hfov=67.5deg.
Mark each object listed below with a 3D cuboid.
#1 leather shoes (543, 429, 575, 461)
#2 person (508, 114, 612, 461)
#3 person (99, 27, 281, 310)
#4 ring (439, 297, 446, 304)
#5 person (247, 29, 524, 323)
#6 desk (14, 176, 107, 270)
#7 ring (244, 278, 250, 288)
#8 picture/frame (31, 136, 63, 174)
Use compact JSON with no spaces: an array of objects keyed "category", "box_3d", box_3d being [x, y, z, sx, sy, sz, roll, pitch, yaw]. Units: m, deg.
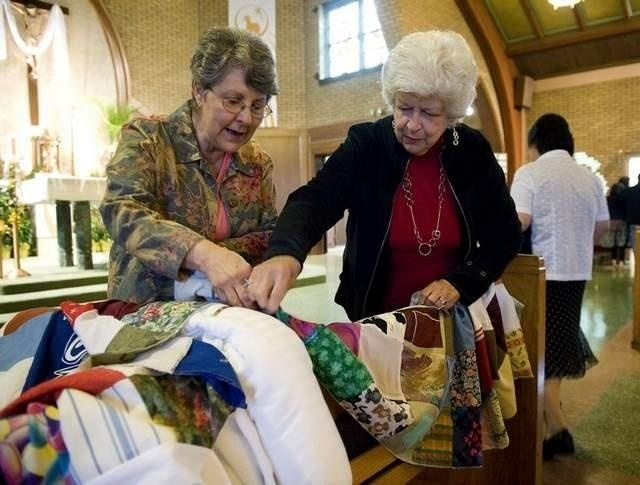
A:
[{"category":"leather shoes","box_3d":[1.130,0.974,2.324,0.177,0.147,0.074,-2,1,-10]},{"category":"person","box_3d":[1.205,0.180,2.435,0.562,1.721,0.303,-2,1,-37]},{"category":"person","box_3d":[-0.320,-0.220,1.431,0.433,0.754,0.530,-2,1,17]},{"category":"ring","box_3d":[0.370,0.180,1.466,0.018,0.007,0.014,5,8,17]},{"category":"person","box_3d":[0.214,-0.197,1.581,0.991,0.686,0.488,-2,1,-26]},{"category":"desk","box_3d":[-2.591,-0.186,5.023,0.471,0.862,0.883,-6,1,22]},{"category":"ring","box_3d":[-0.176,0.098,1.153,0.014,0.004,0.014,1,49,-1]},{"category":"picture/frame","box_3d":[-4.178,-1.376,7.357,0.394,0.674,0.349,-2,1,-37]}]
